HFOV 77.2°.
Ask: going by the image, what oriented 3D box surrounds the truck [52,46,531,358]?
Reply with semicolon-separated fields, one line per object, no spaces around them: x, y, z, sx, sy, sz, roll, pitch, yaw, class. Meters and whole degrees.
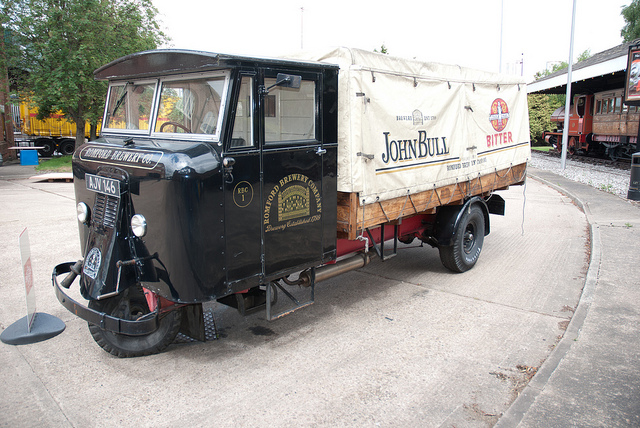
0.136;-0.508;8.953;10.289;4.716;4.620;-7;10;-42;truck
